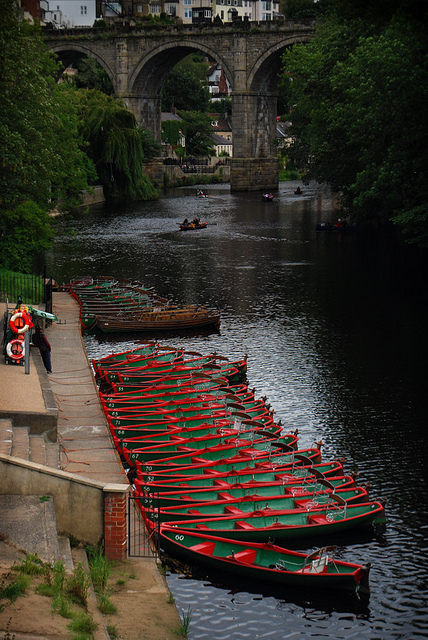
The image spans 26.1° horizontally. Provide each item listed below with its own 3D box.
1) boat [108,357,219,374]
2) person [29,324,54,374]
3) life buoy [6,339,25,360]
[{"bbox_3d":[-1.217,1.175,23.277,2.955,0.194,1.062,-5,9,-20],"label":"boat"},{"bbox_3d":[-4.291,0.744,22.778,0.343,0.338,1.087,-16,25,-9],"label":"person"},{"bbox_3d":[-4.522,0.658,20.980,0.414,0.454,0.113,8,-1,-29],"label":"life buoy"}]
